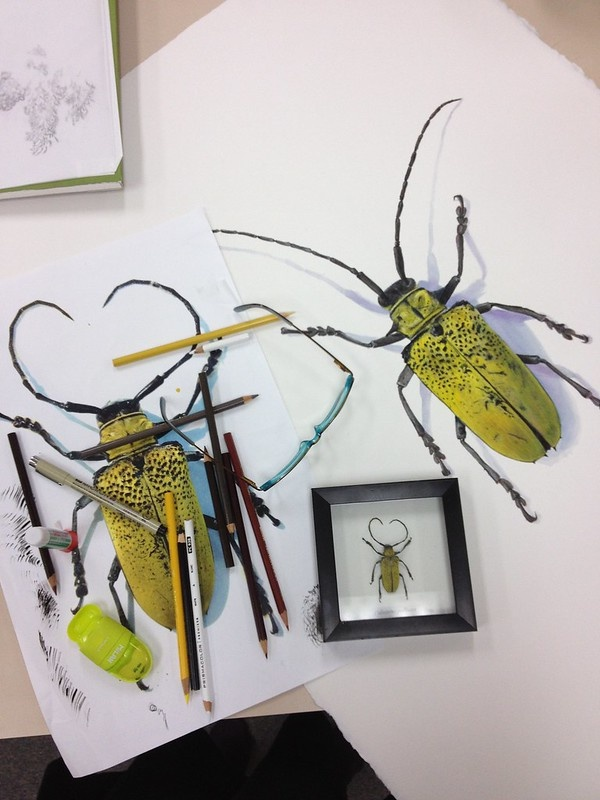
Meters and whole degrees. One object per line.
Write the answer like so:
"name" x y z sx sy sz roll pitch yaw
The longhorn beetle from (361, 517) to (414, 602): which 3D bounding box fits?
"longhorn beetle" 0.140 0.242 1.067 0.082 0.032 0.114 0 80 -1
